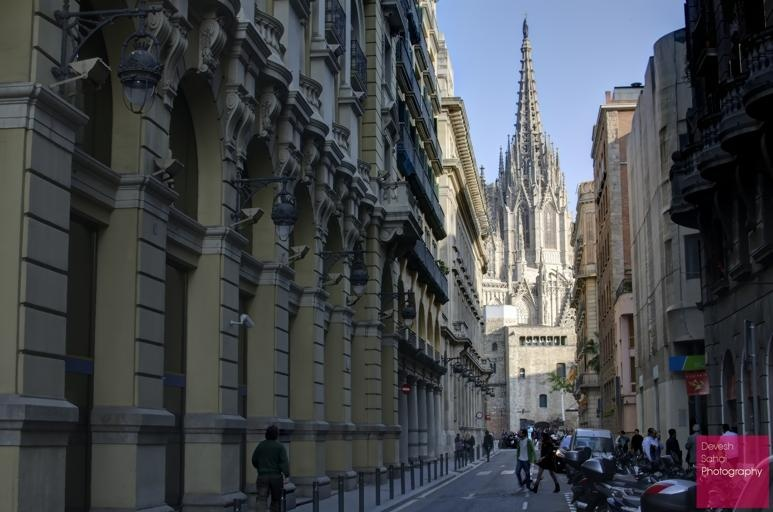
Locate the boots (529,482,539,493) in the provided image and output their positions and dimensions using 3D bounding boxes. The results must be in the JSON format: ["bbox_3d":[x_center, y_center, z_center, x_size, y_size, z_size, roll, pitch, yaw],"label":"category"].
[{"bbox_3d":[4.886,7.596,35.939,0.220,0.423,1.180,-6,-19,7],"label":"boots"}]

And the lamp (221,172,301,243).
[{"bbox_3d":[-2.887,-1.156,25.591,1.452,1.532,1.000,-2,-19,3],"label":"lamp"}]
